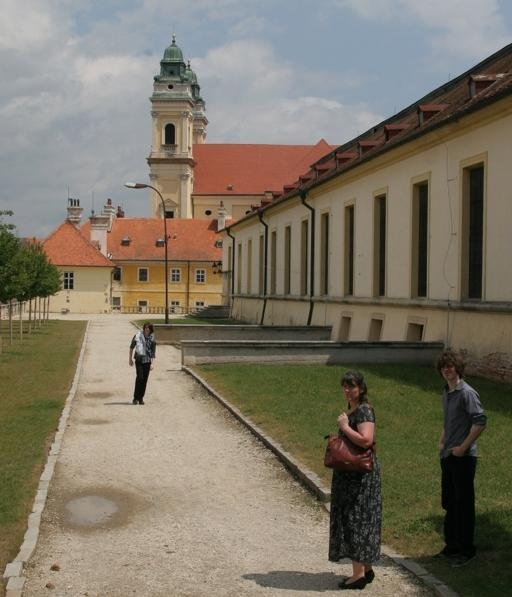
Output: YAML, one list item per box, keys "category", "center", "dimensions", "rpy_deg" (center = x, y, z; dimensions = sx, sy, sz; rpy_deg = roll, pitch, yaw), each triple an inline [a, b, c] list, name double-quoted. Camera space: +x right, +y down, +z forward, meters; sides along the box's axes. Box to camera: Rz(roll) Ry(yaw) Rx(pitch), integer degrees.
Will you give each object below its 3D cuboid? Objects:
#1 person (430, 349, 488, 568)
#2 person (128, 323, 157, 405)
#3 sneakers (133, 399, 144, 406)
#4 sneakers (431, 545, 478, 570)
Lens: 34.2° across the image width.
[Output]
- category: "person"
  center: [1.808, 1.391, 7.325]
  dimensions: [0.431, 1.824, 0.354]
  rpy_deg: [0, 0, 27]
- category: "person"
  center: [-2.296, 1.260, 16.817]
  dimensions: [0.460, 1.550, 1.762]
  rpy_deg: [0, 0, -7]
- category: "sneakers"
  center: [-2.275, 1.996, 16.064]
  dimensions: [0.202, 0.095, 0.260]
  rpy_deg: [0, 1, -9]
- category: "sneakers"
  center: [1.750, 2.273, 7.279]
  dimensions: [0.257, 0.101, 0.156]
  rpy_deg: [13, -32, -9]
